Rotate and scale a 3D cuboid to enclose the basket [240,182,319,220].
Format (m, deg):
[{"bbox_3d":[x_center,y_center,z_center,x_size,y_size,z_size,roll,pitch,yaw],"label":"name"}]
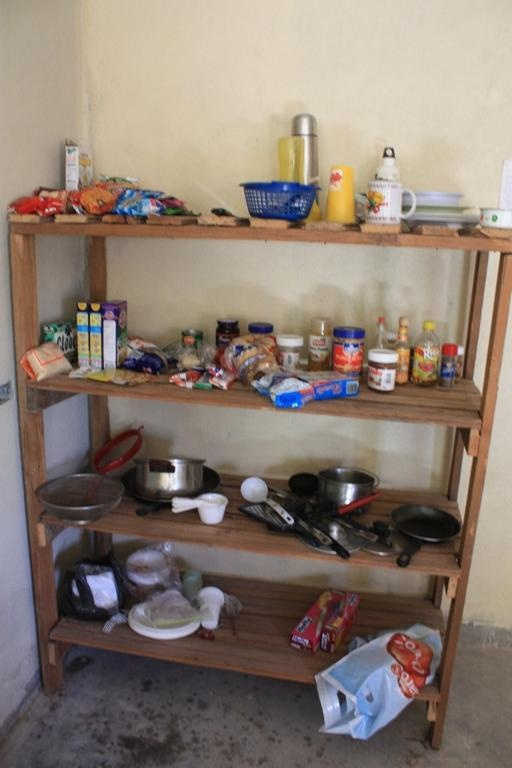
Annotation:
[{"bbox_3d":[0.061,-0.414,1.477,0.129,0.058,0.108,4,16,13],"label":"basket"}]

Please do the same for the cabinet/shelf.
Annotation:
[{"bbox_3d":[0.015,0.273,1.760,1.292,1.436,0.458,6,28,10],"label":"cabinet/shelf"}]

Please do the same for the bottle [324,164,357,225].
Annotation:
[{"bbox_3d":[0.201,-0.451,1.494,0.068,0.131,0.136,2,14,6],"label":"bottle"}]

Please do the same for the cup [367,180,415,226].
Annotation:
[{"bbox_3d":[0.295,-0.406,1.419,0.132,0.108,0.082,8,20,17],"label":"cup"}]

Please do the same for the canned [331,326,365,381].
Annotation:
[{"bbox_3d":[0.233,-0.082,1.643,0.089,0.135,0.088,9,15,25],"label":"canned"}]

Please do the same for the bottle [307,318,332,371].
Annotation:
[{"bbox_3d":[0.172,-0.106,1.690,0.059,0.136,0.053,2,14,6],"label":"bottle"}]

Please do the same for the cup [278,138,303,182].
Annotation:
[{"bbox_3d":[0.087,-0.572,1.609,0.062,0.105,0.040,2,14,4],"label":"cup"}]

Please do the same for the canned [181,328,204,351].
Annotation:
[{"bbox_3d":[-0.180,-0.127,1.796,0.057,0.042,0.057,13,17,42],"label":"canned"}]

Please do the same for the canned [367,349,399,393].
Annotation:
[{"bbox_3d":[0.317,-0.035,1.595,0.069,0.107,0.084,3,15,11],"label":"canned"}]

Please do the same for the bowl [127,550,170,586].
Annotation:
[{"bbox_3d":[-0.338,0.577,1.978,0.103,0.072,0.103,0,27,0],"label":"bowl"}]

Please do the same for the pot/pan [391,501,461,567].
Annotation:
[{"bbox_3d":[0.424,0.409,1.674,0.179,0.041,0.296,11,23,25],"label":"pot/pan"}]
